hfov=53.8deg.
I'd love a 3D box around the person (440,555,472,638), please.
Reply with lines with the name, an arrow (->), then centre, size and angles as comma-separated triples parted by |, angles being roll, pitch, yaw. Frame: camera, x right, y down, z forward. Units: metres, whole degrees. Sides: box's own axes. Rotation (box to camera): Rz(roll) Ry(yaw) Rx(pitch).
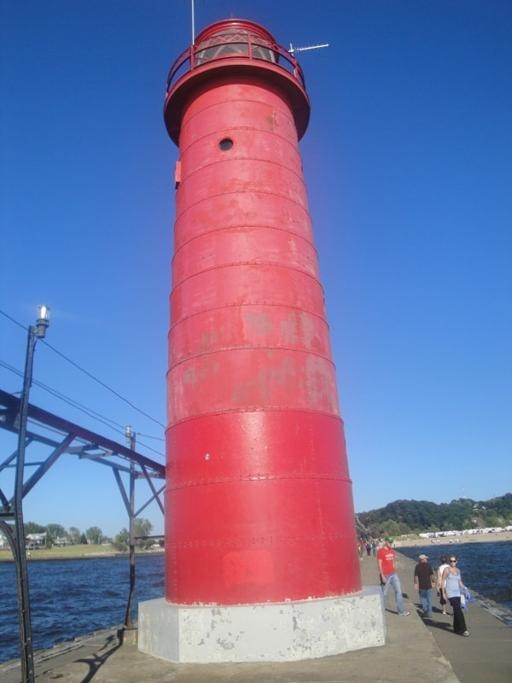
person -> 3.150, 4.000, 8.012 | 0.358, 1.033, 1.653 | -10, -19, 16

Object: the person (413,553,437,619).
person -> 3.178, 4.530, 9.544 | 0.335, 1.043, 1.538 | -9, -18, 13
